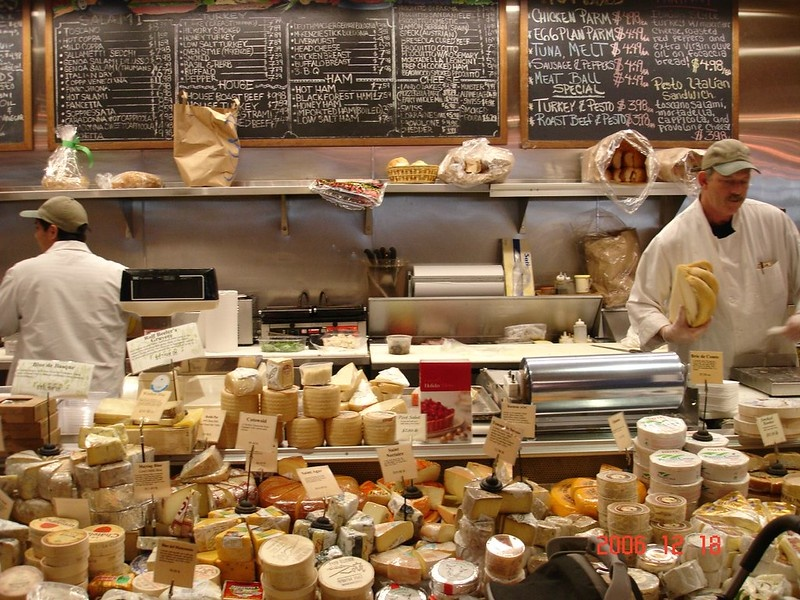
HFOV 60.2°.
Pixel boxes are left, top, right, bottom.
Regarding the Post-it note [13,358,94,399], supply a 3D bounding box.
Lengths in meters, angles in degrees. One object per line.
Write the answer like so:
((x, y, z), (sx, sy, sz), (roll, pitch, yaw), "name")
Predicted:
((-1.214, 0.267, 2.408), (0.303, 0.128, 0.061), (-2, -4, 5), "Post-it note")

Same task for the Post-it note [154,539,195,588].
((-0.626, 0.742, 1.943), (0.161, 0.122, 0.035), (8, 3, 5), "Post-it note")

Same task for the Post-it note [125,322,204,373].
((-0.892, 0.178, 2.633), (0.372, 0.161, 0.034), (-11, -8, -19), "Post-it note")

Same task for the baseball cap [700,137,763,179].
((1.420, -0.626, 2.974), (0.193, 0.100, 0.222), (0, 8, -2), "baseball cap")

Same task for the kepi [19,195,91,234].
((-1.771, -0.462, 3.606), (0.352, 0.126, 0.193), (7, 8, -12), "kepi")

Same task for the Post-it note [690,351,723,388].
((1.121, 0.249, 2.529), (0.190, 0.145, 0.023), (1, 2, 9), "Post-it note")

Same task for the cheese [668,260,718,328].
((1.155, -0.028, 2.728), (0.111, 0.253, 0.228), (-4, -7, -6), "cheese")

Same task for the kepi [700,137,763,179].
((1.433, -0.636, 3.013), (0.193, 0.100, 0.222), (0, 8, -2), "kepi")

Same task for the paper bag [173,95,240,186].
((-1.212, -1.004, 4.333), (0.392, 0.554, 0.166), (-2, 5, -13), "paper bag")
